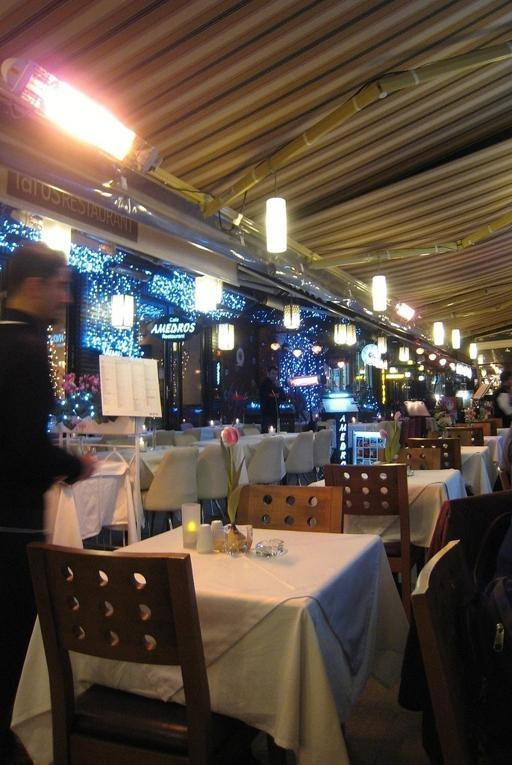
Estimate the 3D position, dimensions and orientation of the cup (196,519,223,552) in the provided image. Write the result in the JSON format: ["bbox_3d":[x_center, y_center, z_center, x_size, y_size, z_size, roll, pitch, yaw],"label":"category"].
[{"bbox_3d":[-0.126,0.446,1.626,0.053,0.096,0.097,2,-9,8],"label":"cup"}]

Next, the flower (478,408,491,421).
[{"bbox_3d":[5.123,0.710,12.670,0.231,0.248,0.416,4,2,19],"label":"flower"}]
